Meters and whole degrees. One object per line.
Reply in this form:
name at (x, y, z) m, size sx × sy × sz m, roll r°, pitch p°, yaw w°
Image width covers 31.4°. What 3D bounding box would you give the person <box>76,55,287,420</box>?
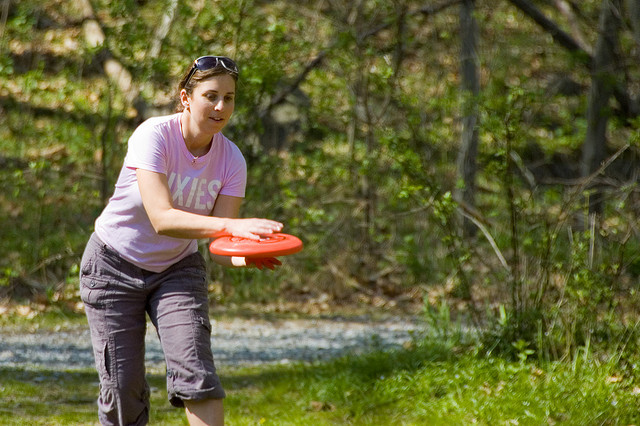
person at (-1.210, 0.202, 8.955) m, size 1.306 × 2.855 × 0.607 m, roll -1°, pitch -2°, yaw -4°
